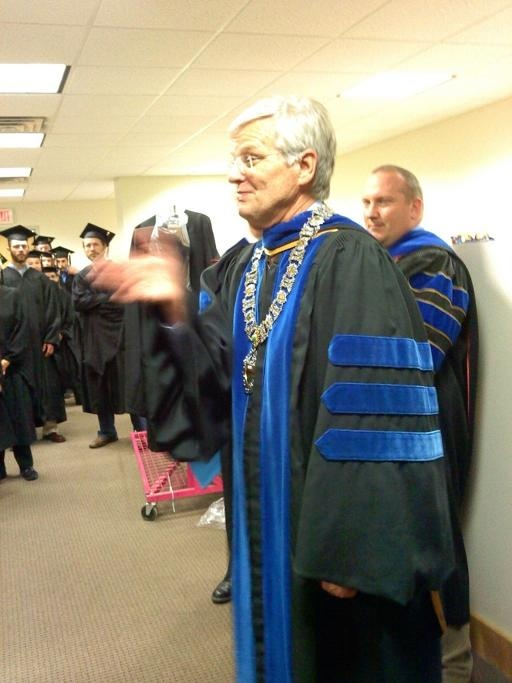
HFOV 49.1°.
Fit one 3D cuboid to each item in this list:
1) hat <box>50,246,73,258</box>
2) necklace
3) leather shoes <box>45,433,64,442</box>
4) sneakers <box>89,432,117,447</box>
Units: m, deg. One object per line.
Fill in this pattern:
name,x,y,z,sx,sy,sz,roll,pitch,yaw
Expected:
hat,-2.795,-1.279,7.987,0.314,0.142,0.297,0,4,-6
necklace,0.110,-0.076,1.111,0.088,0.342,0.205,19,-7,-20
leather shoes,-2.034,0.962,5.708,0.238,0.089,0.095,-5,-12,32
sneakers,-1.449,0.929,5.365,0.094,0.111,0.287,-16,-12,34
